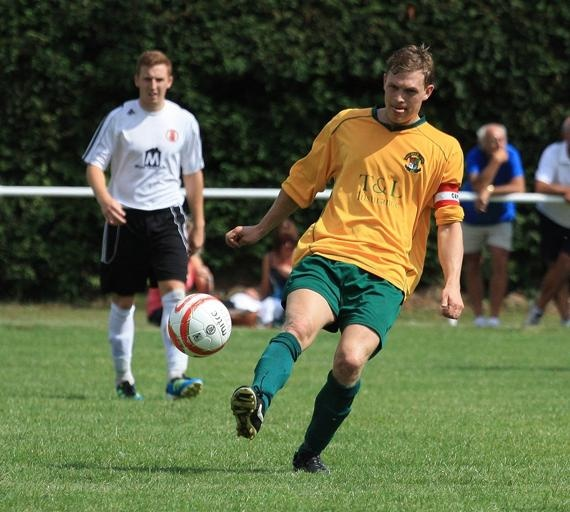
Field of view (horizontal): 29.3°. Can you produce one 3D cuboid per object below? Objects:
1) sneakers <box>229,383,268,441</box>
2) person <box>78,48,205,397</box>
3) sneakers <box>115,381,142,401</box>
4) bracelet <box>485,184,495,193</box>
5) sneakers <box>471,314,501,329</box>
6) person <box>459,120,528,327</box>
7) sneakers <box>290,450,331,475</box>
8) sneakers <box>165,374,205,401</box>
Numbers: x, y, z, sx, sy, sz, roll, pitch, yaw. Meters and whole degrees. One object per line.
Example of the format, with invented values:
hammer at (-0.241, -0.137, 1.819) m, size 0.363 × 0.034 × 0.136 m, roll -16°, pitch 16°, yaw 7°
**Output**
sneakers at (-0.164, 0.714, 5.062) m, size 0.104 × 0.302 × 0.151 m, roll 9°, pitch 26°, yaw 19°
person at (-0.866, -0.216, 6.918) m, size 0.835 × 2.180 × 0.514 m, roll 4°, pitch 11°, yaw -14°
sneakers at (-1.007, 0.868, 7.054) m, size 0.222 × 0.105 × 0.078 m, roll 3°, pitch 3°, yaw 31°
bracelet at (1.889, -0.652, 10.076) m, size 0.076 × 0.045 × 0.080 m, roll -7°, pitch 17°, yaw -10°
sneakers at (1.969, 0.631, 10.740) m, size 0.103 × 0.137 × 0.300 m, roll -1°, pitch 1°, yaw -40°
person at (1.951, -0.297, 10.536) m, size 0.577 × 1.998 × 0.982 m, roll 8°, pitch 11°, yaw 11°
sneakers at (0.132, 1.048, 5.556) m, size 0.203 × 0.097 × 0.078 m, roll 2°, pitch 3°, yaw 28°
sneakers at (-0.640, 0.848, 7.079) m, size 0.274 × 0.137 × 0.102 m, roll -22°, pitch -24°, yaw 39°
